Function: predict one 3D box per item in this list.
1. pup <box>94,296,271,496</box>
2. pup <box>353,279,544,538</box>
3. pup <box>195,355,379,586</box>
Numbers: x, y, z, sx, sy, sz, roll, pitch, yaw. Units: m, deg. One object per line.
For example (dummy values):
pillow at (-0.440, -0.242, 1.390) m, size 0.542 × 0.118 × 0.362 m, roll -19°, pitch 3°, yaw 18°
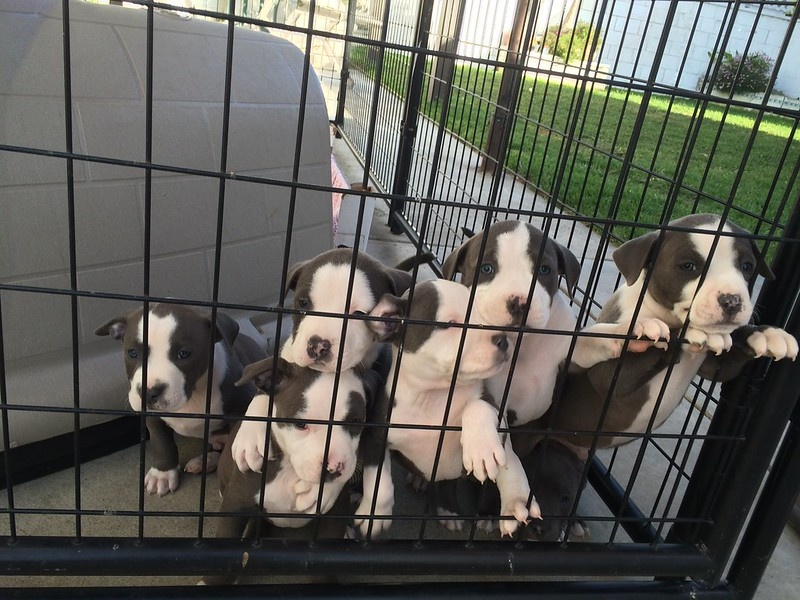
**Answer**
pup at (-0.764, 0.320, 2.201) m, size 0.413 × 0.706 × 0.862 m, roll 0°, pitch 12°, yaw -3°
pup at (0.106, 0.316, 1.714) m, size 0.510 × 0.610 × 0.829 m, roll 1°, pitch -3°, yaw -9°
pup at (-0.297, 0.483, 1.589) m, size 0.360 × 0.694 × 0.524 m, roll 10°, pitch 48°, yaw -18°
